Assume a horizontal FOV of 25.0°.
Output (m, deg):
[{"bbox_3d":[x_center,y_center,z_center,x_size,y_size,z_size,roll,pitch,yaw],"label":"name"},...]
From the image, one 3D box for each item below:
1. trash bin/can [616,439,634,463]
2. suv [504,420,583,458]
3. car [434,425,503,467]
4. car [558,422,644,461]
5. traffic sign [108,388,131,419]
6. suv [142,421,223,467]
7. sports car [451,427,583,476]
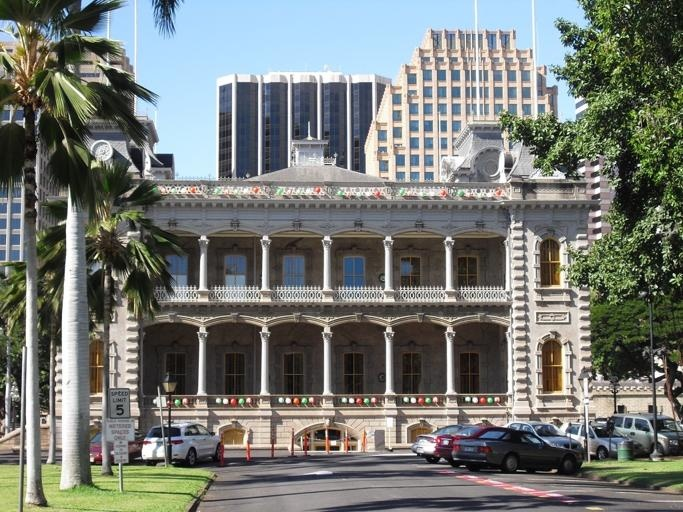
[{"bbox_3d":[12.414,8.595,67.982,0.764,1.156,0.734,1,-9,-4],"label":"trash bin/can"},{"bbox_3d":[8.948,7.964,67.989,3.068,1.654,2.840,-1,-8,-8],"label":"suv"},{"bbox_3d":[5.395,7.690,63.546,2.785,0.925,1.262,0,-4,-31],"label":"car"},{"bbox_3d":[11.834,8.511,71.836,1.936,1.675,4.566,1,-1,-34],"label":"car"},{"bbox_3d":[-7.975,5.247,55.419,0.724,1.135,0.739,0,-12,-5],"label":"traffic sign"},{"bbox_3d":[-6.986,8.229,68.373,2.340,1.864,5.197,-2,-3,15],"label":"suv"},{"bbox_3d":[7.248,8.011,63.131,5.559,1.672,2.456,7,-13,-34],"label":"sports car"}]
